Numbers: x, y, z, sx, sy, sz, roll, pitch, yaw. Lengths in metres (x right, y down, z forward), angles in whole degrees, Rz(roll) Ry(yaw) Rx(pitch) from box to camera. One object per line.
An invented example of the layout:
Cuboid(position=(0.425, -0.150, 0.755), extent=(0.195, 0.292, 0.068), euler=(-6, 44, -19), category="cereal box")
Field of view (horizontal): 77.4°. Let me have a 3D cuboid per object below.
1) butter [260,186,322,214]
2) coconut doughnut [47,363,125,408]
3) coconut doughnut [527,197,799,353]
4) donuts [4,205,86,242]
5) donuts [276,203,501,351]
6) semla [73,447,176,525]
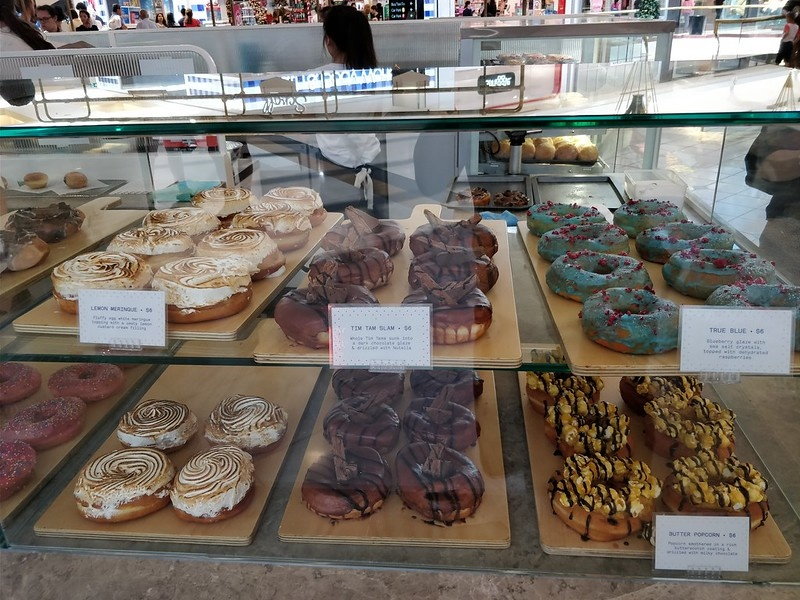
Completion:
Cuboid(position=(-0.314, -0.309, 1.517), extent=(0.113, 0.034, 0.117), euler=(17, 24, 26), category="butter")
Cuboid(position=(-1.026, 0.290, 1.643), extent=(0.199, 0.108, 0.144), euler=(15, 28, 21), category="coconut doughnut")
Cuboid(position=(0.695, -0.126, 1.414), extent=(0.598, 0.152, 0.654), euler=(-3, 27, 3), category="coconut doughnut")
Cuboid(position=(-1.108, -0.268, 1.625), extent=(0.263, 0.110, 0.235), euler=(7, 19, 15), category="donuts")
Cuboid(position=(0.000, -0.041, 1.379), extent=(0.463, 0.141, 0.425), euler=(2, 37, 3), category="donuts")
Cuboid(position=(-0.743, 0.497, 1.378), extent=(0.248, 0.084, 0.213), euler=(-16, 33, -38), category="semla")
